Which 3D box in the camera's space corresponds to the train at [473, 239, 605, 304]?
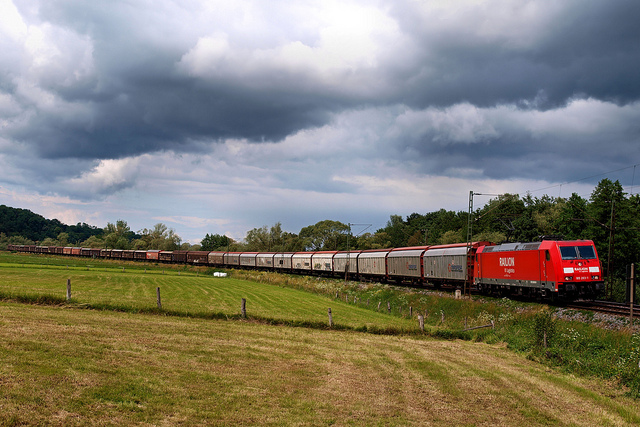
[{"bbox_3d":[21.882,5.943,54.542,4.764,5.919,18.819,1,-5,-8],"label":"train"}]
